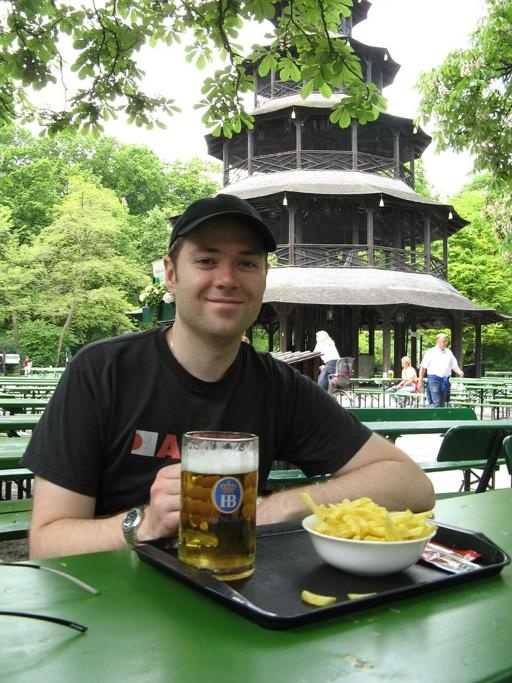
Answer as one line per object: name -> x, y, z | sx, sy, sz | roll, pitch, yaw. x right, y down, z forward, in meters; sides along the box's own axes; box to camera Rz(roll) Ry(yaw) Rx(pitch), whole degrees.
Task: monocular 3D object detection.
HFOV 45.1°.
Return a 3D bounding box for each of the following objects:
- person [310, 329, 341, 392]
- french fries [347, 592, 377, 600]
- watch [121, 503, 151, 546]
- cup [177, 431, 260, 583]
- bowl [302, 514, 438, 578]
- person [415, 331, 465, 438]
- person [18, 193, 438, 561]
person -> 1.693, 0.518, 14.458 | 0.654, 1.606, 0.764 | -6, 21, 3
french fries -> 0.162, 0.388, 0.938 | 0.039, 0.010, 0.022 | -8, -19, -2
watch -> -0.263, 0.417, 1.403 | 0.052, 0.080, 0.065 | -18, -35, 20
cup -> -0.062, 0.284, 1.105 | 0.154, 0.226, 0.148 | 0, -3, 0
bowl -> 0.196, 0.345, 1.087 | 0.158, 0.091, 0.178 | -1, -5, -4
person -> 4.070, 0.841, 13.375 | 1.006, 2.364, 1.064 | 0, -1, -1
person -> -0.063, 0.186, 1.871 | 1.280, 1.051, 0.753 | 3, -6, -15
